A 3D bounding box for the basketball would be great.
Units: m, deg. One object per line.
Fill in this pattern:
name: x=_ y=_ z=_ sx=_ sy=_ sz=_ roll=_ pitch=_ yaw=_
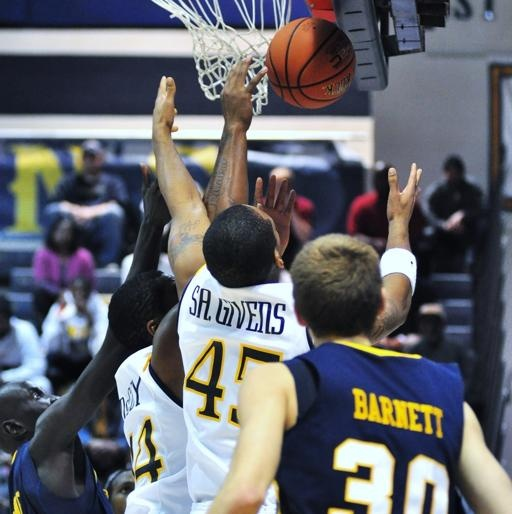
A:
basketball: x=0.207 y=-0.850 z=5.551 sx=0.310 sy=0.348 sz=0.328 roll=-17 pitch=40 yaw=-6
